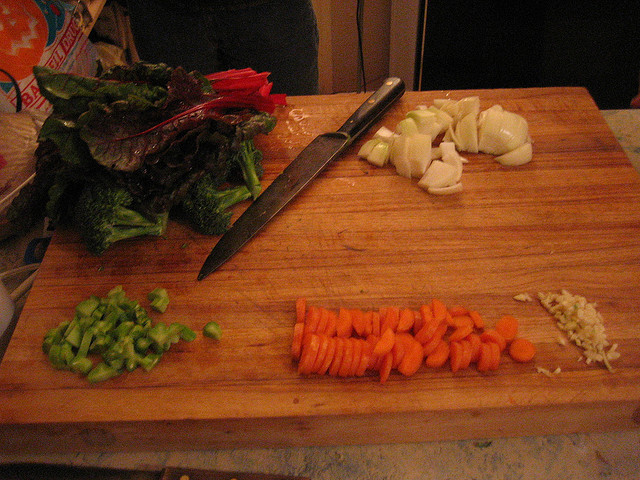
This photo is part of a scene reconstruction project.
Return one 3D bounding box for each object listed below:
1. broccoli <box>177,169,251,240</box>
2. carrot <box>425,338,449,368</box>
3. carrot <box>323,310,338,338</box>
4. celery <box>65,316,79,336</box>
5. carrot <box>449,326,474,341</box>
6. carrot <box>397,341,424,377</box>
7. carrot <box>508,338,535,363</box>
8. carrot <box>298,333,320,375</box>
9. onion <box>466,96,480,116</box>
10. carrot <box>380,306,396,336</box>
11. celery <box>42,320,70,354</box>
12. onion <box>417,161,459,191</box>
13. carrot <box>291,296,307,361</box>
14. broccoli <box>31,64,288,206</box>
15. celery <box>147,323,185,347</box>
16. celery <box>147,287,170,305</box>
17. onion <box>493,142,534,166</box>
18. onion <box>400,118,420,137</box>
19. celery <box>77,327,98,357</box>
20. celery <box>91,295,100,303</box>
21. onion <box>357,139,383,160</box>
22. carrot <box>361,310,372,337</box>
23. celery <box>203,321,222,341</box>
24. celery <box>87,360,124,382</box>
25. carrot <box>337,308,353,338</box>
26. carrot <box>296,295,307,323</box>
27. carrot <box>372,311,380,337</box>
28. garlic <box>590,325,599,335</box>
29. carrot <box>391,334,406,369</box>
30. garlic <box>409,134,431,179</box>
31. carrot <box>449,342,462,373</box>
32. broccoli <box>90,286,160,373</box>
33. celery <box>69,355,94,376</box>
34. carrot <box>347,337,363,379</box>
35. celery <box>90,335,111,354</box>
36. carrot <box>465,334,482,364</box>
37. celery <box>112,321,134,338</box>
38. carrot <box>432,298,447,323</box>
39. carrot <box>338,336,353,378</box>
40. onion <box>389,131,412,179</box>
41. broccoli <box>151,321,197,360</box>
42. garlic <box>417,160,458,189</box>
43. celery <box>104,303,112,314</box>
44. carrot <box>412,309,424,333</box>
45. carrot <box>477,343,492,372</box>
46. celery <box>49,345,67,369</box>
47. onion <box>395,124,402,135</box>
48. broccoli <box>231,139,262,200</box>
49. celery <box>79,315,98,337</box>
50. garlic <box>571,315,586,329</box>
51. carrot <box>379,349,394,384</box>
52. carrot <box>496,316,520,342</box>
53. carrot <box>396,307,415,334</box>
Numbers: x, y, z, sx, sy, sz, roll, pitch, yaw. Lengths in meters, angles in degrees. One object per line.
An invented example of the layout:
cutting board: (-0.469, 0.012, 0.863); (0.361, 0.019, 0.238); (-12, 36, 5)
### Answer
broccoli: (-0.429, -0.149, 2.218); (0.280, 0.157, 0.244); (-11, 61, -18)
carrot: (0.437, 0.398, 1.989); (0.061, 0.118, 0.233); (11, -2, 18)
carrot: (0.043, 0.301, 1.937); (0.021, 0.075, 0.082); (16, 19, 11)
celery: (-0.897, 0.307, 1.941); (0.015, 0.052, 0.047); (31, 3, -26)
carrot: (0.508, 0.335, 1.920); (0.069, 0.016, 0.049); (-37, 29, 6)
carrot: (0.314, 0.417, 1.881); (0.071, 0.036, 0.122); (34, 78, 8)
carrot: (0.716, 0.387, 1.892); (0.085, 0.066, 0.067); (20, 62, 8)
carrot: (-0.050, 0.414, 1.930); (0.039, 0.153, 0.165); (16, 33, -8)
onion: (0.741, -0.647, 2.580); (0.060, 0.089, 0.094); (-19, 30, 26)
carrot: (0.252, 0.293, 1.945); (0.050, 0.097, 0.029); (26, -2, 34)
celery: (-0.973, 0.349, 1.952); (0.063, 0.035, 0.132); (34, 57, 15)
onion: (0.529, -0.292, 2.373); (0.138, 0.046, 0.132); (2, 56, 16)
carrot: (-0.077, 0.331, 1.946); (0.047, 0.076, 0.268); (6, 56, 1)
broccoli: (-0.607, -0.466, 2.256); (0.987, 0.402, 0.629); (-13, 48, -42)
celery: (-0.558, 0.329, 1.935); (0.127, 0.051, 0.065); (-23, 42, -30)
celery: (-0.618, 0.208, 2.054); (0.088, 0.052, 0.061); (13, 37, 15)
onion: (0.907, -0.394, 2.466); (0.116, 0.053, 0.125); (8, 49, 28)
onion: (0.414, -0.529, 2.504); (0.085, 0.079, 0.023); (13, -3, 22)
celery: (-0.835, 0.361, 1.914); (0.047, 0.040, 0.136); (25, 73, -1)
celery: (-0.848, 0.217, 2.003); (0.024, 0.006, 0.023); (15, 37, -23)
onion: (0.236, -0.427, 2.527); (0.034, 0.095, 0.096); (32, -2, 10)
carrot: (0.177, 0.311, 1.961); (0.034, 0.070, 0.075); (6, 36, 7)
celery: (-0.398, 0.336, 1.969); (0.068, 0.048, 0.051); (0, 36, -2)
celery: (-0.764, 0.462, 1.894); (0.116, 0.056, 0.062); (-17, 39, -24)
carrot: (0.100, 0.298, 1.978); (0.071, 0.035, 0.139); (-1, 33, 2)
carrot: (-0.071, 0.262, 1.997); (0.028, 0.076, 0.078); (0, 10, 6)
carrot: (0.205, 0.305, 1.950); (0.023, 0.024, 0.087); (5, 68, -10)
garlic: (0.999, 0.327, 1.935); (0.029, 0.012, 0.044); (28, 43, 32)
carrot: (0.272, 0.391, 1.865); (0.023, 0.096, 0.077); (24, -19, -38)
garlic: (0.451, -0.376, 2.401); (0.102, 0.185, 0.049); (9, 5, 6)
carrot: (0.478, 0.412, 1.887); (0.040, 0.089, 0.065); (-2, 36, -4)
broccoli: (-0.703, 0.333, 1.971); (0.371, 0.131, 0.254); (21, 27, 37)
celery: (-0.842, 0.437, 1.885); (0.083, 0.069, 0.067); (8, 17, -1)
carrot: (0.122, 0.415, 1.862); (0.028, 0.103, 0.093); (20, -5, -3)
celery: (-0.784, 0.373, 1.911); (0.053, 0.073, 0.024); (41, 22, -12)
carrot: (0.542, 0.387, 1.884); (0.035, 0.072, 0.097); (4, 66, -5)
celery: (-0.706, 0.321, 1.921); (0.069, 0.041, 0.033); (-46, 7, -10)
carrot: (0.433, 0.261, 1.965); (0.059, 0.026, 0.109); (5, 37, 12)
carrot: (0.094, 0.403, 1.900); (0.046, 0.108, 0.131); (4, 36, 5)
onion: (0.376, -0.380, 2.440); (0.056, 0.168, 0.170); (11, -5, 15)
broccoli: (-0.567, 0.357, 1.928); (0.176, 0.055, 0.143); (19, 64, -41)
garlic: (0.512, -0.289, 2.384); (0.136, 0.045, 0.132); (-7, 51, 10)
celery: (-0.783, 0.255, 1.976); (0.008, 0.030, 0.031); (30, 29, -60)
carrot: (0.357, 0.297, 1.949); (0.027, 0.076, 0.075); (2, 78, -6)
carrot: (0.581, 0.417, 1.887); (0.048, 0.083, 0.063); (16, 38, 19)
celery: (-0.940, 0.420, 1.912); (0.050, 0.073, 0.075); (-20, 41, -27)
onion: (0.374, -0.532, 2.545); (0.012, 0.046, 0.033); (-7, 11, -37)
broccoli: (-0.309, -0.309, 2.369); (0.119, 0.240, 0.166); (-8, 32, -13)
celery: (-0.841, 0.312, 1.966); (0.067, 0.022, 0.064); (-48, 31, -17)
garlic: (0.950, 0.297, 1.957); (0.015, 0.018, 0.067); (-26, 48, -36)
carrot: (0.230, 0.439, 1.847); (0.022, 0.092, 0.071); (20, -6, -11)
carrot: (0.688, 0.315, 1.950); (0.067, 0.067, 0.091); (5, 24, 19)
carrot: (0.314, 0.300, 1.943); (0.058, 0.072, 0.081); (12, 37, 14)
